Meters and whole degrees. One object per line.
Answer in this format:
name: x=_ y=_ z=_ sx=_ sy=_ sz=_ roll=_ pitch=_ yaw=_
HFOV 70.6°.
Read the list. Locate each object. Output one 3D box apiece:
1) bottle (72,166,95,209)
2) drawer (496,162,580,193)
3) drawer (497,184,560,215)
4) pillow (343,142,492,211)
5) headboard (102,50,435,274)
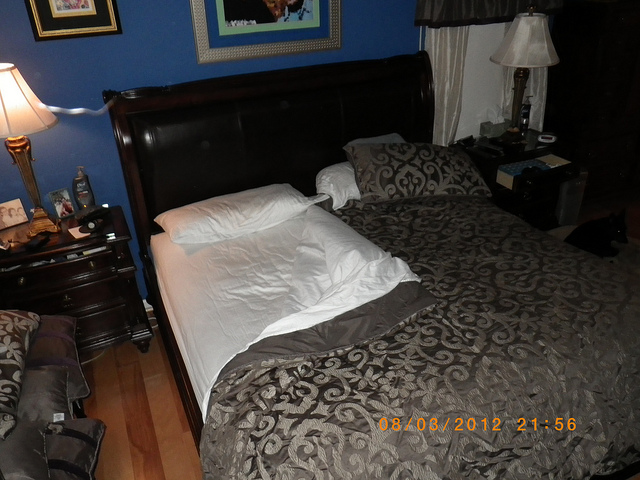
bottle: x=-1.529 y=-0.305 z=2.915 sx=0.117 sy=0.075 sz=0.385 roll=-15 pitch=66 yaw=-18
drawer: x=1.687 y=-0.484 z=3.505 sx=0.421 sy=0.092 sz=0.288 roll=-13 pitch=24 yaw=-14
drawer: x=1.615 y=-0.329 z=3.554 sx=0.347 sy=0.202 sz=0.326 roll=-10 pitch=13 yaw=-23
pillow: x=0.671 y=-0.510 z=3.189 sx=0.779 sy=0.243 sz=0.518 roll=1 pitch=59 yaw=12
headboard: x=-0.425 y=-0.490 z=2.940 sx=1.430 sy=1.111 sz=0.105 roll=-17 pitch=29 yaw=-17
